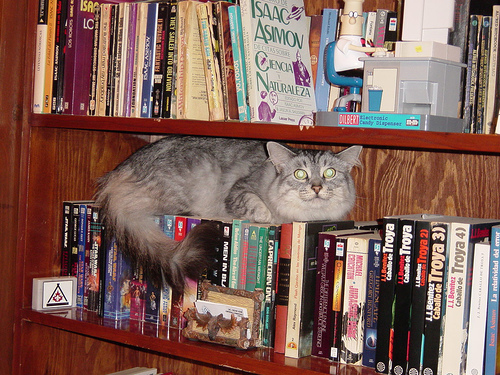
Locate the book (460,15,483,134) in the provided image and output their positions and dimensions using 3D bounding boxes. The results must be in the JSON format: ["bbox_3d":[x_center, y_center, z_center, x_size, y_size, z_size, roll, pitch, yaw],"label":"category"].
[{"bbox_3d":[0.528,-0.266,1.375,0.031,0.328,0.232,4,-7,21],"label":"book"}]

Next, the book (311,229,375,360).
[{"bbox_3d":[0.218,0.254,1.348,0.037,0.379,0.282,3,1,26],"label":"book"}]

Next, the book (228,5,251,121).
[{"bbox_3d":[-0.026,-0.306,1.423,0.024,0.226,0.183,-4,35,-19],"label":"book"}]

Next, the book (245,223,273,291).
[{"bbox_3d":[0.024,0.173,1.433,0.061,0.152,0.150,2,0,16],"label":"book"}]

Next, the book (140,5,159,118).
[{"bbox_3d":[-0.262,-0.331,1.512,0.030,0.323,0.236,5,8,-12],"label":"book"}]

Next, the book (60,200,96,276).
[{"bbox_3d":[-0.502,0.151,1.698,0.067,0.206,0.201,1,-2,6],"label":"book"}]

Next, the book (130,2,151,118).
[{"bbox_3d":[-0.286,-0.334,1.524,0.032,0.335,0.244,4,8,-13],"label":"book"}]

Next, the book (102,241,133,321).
[{"bbox_3d":[-0.385,0.271,1.668,0.058,0.178,0.174,-2,-6,19],"label":"book"}]

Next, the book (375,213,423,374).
[{"bbox_3d":[0.332,0.243,1.281,0.094,0.315,0.306,2,7,16],"label":"book"}]

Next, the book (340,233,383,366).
[{"bbox_3d":[0.258,0.261,1.328,0.088,0.294,0.283,4,3,12],"label":"book"}]

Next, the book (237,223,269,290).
[{"bbox_3d":[0.018,0.155,1.444,0.040,0.122,0.118,6,-4,-38],"label":"book"}]

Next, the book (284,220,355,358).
[{"bbox_3d":[0.163,0.247,1.369,0.055,0.357,0.298,6,3,19],"label":"book"}]

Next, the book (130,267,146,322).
[{"bbox_3d":[-0.312,0.297,1.612,0.047,0.140,0.138,2,-1,-10],"label":"book"}]
